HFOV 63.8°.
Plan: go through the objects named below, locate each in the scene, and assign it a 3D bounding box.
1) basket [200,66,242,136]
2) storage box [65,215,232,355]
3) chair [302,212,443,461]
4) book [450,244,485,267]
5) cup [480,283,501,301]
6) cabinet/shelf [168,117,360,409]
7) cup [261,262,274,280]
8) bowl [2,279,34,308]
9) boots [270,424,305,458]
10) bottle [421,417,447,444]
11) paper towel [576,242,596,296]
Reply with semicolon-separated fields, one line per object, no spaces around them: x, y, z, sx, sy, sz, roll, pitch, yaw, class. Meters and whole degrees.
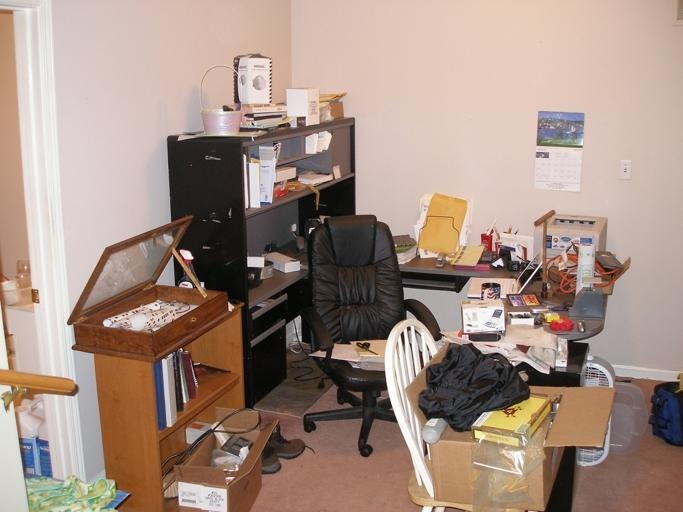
-0.768;-0.989;3.467;0.270;0.392;0.253;-12;27;-20;basket
-1.040;0.136;2.955;0.548;0.547;0.715;4;16;14;storage box
0.150;0.521;3.657;0.917;1.417;0.875;-4;16;-17;chair
0.961;0.003;4.186;0.160;0.026;0.261;4;30;23;book
0.963;0.221;3.543;0.113;0.115;0.106;1;8;0;cup
-0.543;0.061;3.680;0.561;2.069;1.907;2;13;15;cabinet/shelf
-0.555;0.114;4.031;0.089;0.070;0.112;1;8;-1;cup
-1.828;0.218;3.066;0.194;0.078;0.158;10;14;16;bowl
-0.378;1.195;3.588;0.296;0.198;0.122;-14;13;34;boots
0.331;0.626;1.981;0.072;0.072;0.098;8;14;29;bottle
1.495;0.071;3.343;0.063;0.247;0.086;1;10;20;paper towel
